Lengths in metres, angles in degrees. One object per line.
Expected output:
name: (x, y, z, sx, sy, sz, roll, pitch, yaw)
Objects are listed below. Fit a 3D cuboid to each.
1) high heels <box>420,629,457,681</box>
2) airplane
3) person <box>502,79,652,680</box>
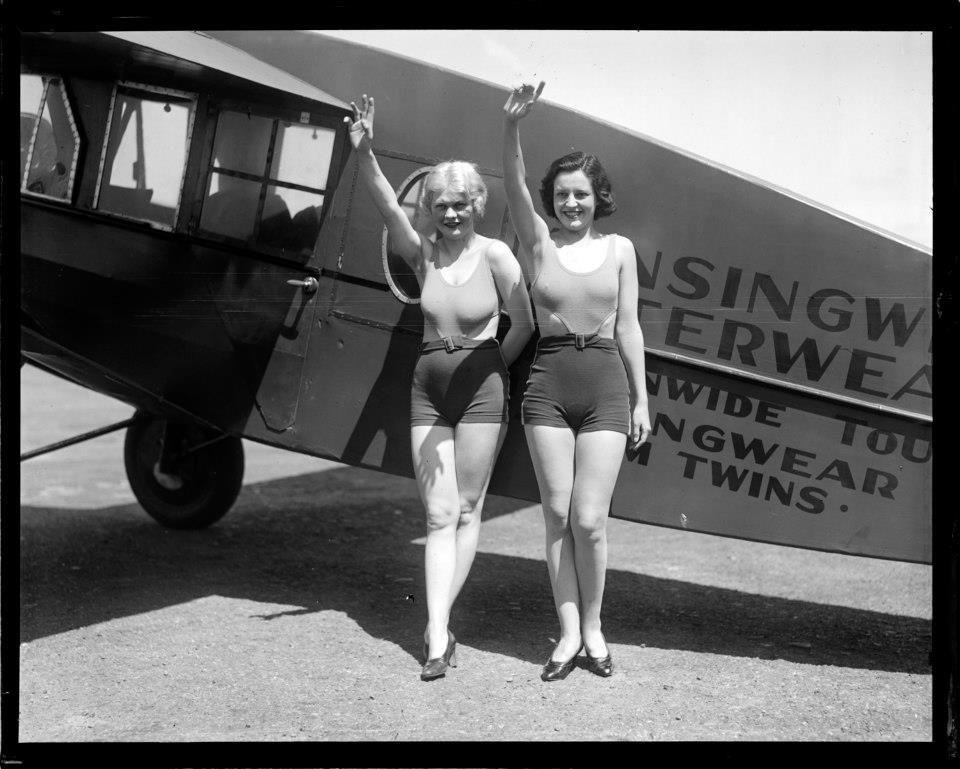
high heels: (-0.180, 1.222, 4.495, 0.083, 0.136, 0.269, -7, -8, 13)
airplane: (0.036, -0.400, 4.920, 2.617, 1.058, 3.372, 19, 11, 13)
person: (0.399, 0.031, 4.413, 0.693, 2.516, 0.376, 5, 10, 10)
